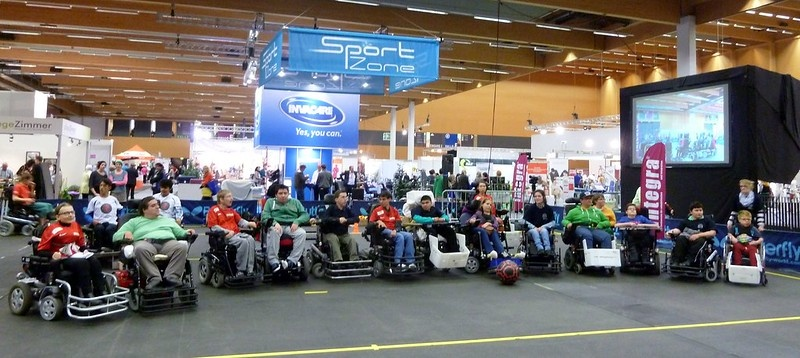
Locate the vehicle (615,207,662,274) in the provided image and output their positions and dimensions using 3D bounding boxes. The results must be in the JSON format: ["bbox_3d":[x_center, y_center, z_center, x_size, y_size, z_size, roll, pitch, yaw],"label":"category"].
[{"bbox_3d":[9.350,2.346,21.213,1.560,2.741,0.610,-1,-2,10],"label":"vehicle"}]

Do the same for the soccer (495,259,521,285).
[{"bbox_3d":[4.057,3.494,20.178,1.012,0.830,0.889,5,-7,-21],"label":"soccer"}]

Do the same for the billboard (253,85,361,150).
[{"bbox_3d":[-5.852,-3.533,32.628,7.279,3.637,3.546,-1,4,-19],"label":"billboard"}]

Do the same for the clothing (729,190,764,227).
[{"bbox_3d":[13.952,1.322,21.717,1.491,1.425,0.851,3,8,45],"label":"clothing"}]

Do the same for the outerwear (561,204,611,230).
[{"bbox_3d":[7.641,1.441,21.728,1.895,0.809,1.116,5,8,35],"label":"outerwear"}]

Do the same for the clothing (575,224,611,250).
[{"bbox_3d":[7.599,2.145,21.358,0.930,0.384,1.467,-16,21,16],"label":"clothing"}]

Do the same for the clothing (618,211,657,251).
[{"bbox_3d":[9.718,2.091,21.704,1.736,1.708,1.674,0,-8,10],"label":"clothing"}]

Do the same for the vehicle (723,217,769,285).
[{"bbox_3d":[13.037,2.603,20.488,1.458,2.785,0.714,-1,-2,17],"label":"vehicle"}]

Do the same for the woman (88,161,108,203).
[{"bbox_3d":[-13.816,0.345,24.863,0.912,2.162,0.868,3,1,-40],"label":"woman"}]

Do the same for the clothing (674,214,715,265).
[{"bbox_3d":[11.395,2.296,20.864,1.211,1.765,1.640,-19,13,-32],"label":"clothing"}]

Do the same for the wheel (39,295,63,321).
[{"bbox_3d":[-11.674,4.311,18.098,0.950,0.788,0.364,5,-2,11],"label":"wheel"}]

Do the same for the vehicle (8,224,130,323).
[{"bbox_3d":[-11.234,3.545,19.082,4.195,2.497,2.537,2,-1,23],"label":"vehicle"}]

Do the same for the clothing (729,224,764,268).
[{"bbox_3d":[13.183,2.478,20.623,1.143,2.020,1.393,-2,3,36],"label":"clothing"}]

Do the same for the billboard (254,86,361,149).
[{"bbox_3d":[-5.951,-3.518,32.648,7.280,3.657,3.545,-1,4,-19],"label":"billboard"}]
